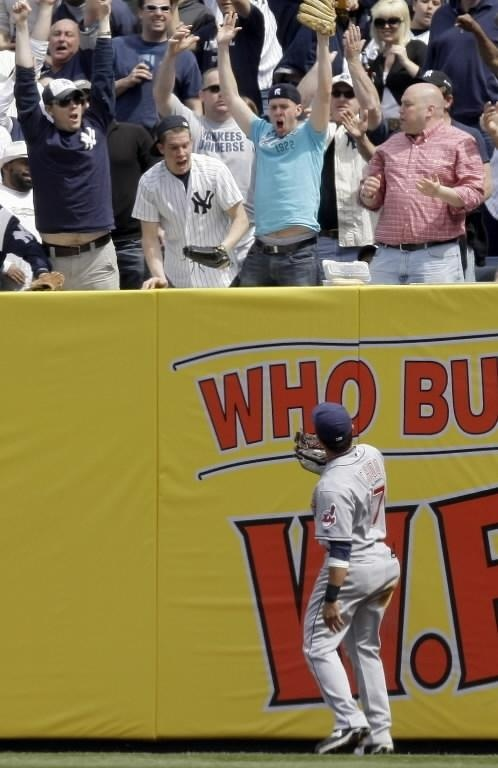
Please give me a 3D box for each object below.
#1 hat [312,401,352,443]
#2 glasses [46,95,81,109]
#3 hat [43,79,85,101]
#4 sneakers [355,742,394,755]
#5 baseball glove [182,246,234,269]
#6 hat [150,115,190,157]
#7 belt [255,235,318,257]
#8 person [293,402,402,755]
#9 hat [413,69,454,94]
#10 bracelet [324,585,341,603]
[{"bbox_3d":[0.425,0.186,7.657,0.138,0.208,0.116,-12,-33,-5],"label":"hat"},{"bbox_3d":[-1.138,-1.755,9.511,0.099,0.053,0.145,-3,-4,-45],"label":"glasses"},{"bbox_3d":[-1.185,-1.839,9.548,0.171,0.117,0.272,-12,-1,-33],"label":"hat"},{"bbox_3d":[0.639,1.828,7.725,0.202,0.098,0.071,4,-10,-13],"label":"sneakers"},{"bbox_3d":[-0.227,-0.761,9.124,0.306,0.123,0.134,5,-4,-23],"label":"baseball glove"},{"bbox_3d":[-0.472,-1.564,9.512,0.184,0.211,0.305,-12,19,-13],"label":"hat"},{"bbox_3d":[0.235,-0.876,9.561,0.385,0.093,0.151,-7,19,6],"label":"belt"},{"bbox_3d":[0.501,1.003,7.659,0.464,1.713,0.745,-3,18,14],"label":"person"},{"bbox_3d":[1.198,-1.925,9.671,0.150,0.121,0.223,19,-10,40],"label":"hat"},{"bbox_3d":[0.415,1.017,7.494,0.078,0.102,0.048,-7,18,1],"label":"bracelet"}]
